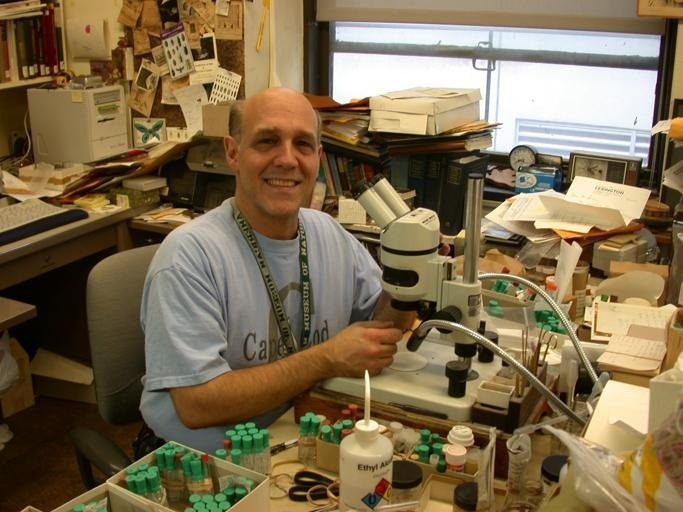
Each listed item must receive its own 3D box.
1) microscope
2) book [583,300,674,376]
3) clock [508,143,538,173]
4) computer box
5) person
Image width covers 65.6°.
[{"bbox_3d":[0.189,0.002,1.336,0.328,0.425,0.198,4,17,16],"label":"microscope"},{"bbox_3d":[0.837,0.260,1.586,0.236,0.067,0.233,7,36,29],"label":"book"},{"bbox_3d":[1.114,-0.596,3.246,0.179,0.187,0.060,27,34,31],"label":"clock"},{"bbox_3d":[-1.676,-0.850,3.375,0.500,0.515,0.326,18,30,18],"label":"computer box"},{"bbox_3d":[-0.126,0.153,1.529,0.670,1.372,0.545,8,13,37],"label":"person"}]
